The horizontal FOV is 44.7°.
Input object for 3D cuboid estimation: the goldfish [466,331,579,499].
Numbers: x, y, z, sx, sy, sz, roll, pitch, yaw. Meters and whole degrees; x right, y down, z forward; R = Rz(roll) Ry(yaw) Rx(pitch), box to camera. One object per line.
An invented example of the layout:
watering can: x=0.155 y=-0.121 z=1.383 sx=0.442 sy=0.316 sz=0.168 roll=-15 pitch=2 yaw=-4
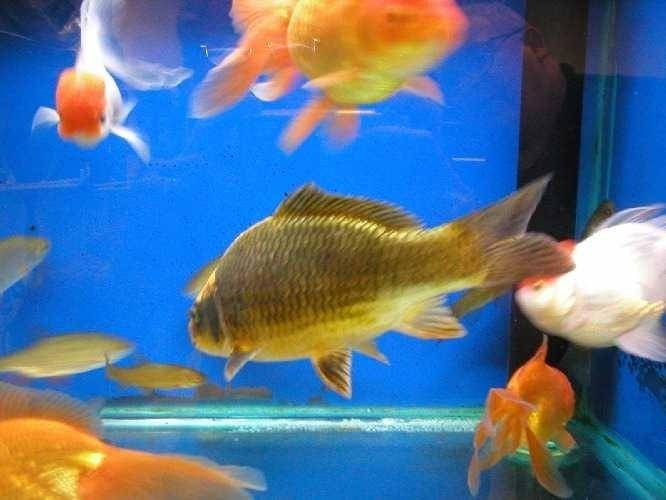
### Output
goldfish: x=0.403 y=0.320 z=1.568 sx=0.155 sy=0.173 sz=0.281 roll=-2 pitch=23 yaw=34
